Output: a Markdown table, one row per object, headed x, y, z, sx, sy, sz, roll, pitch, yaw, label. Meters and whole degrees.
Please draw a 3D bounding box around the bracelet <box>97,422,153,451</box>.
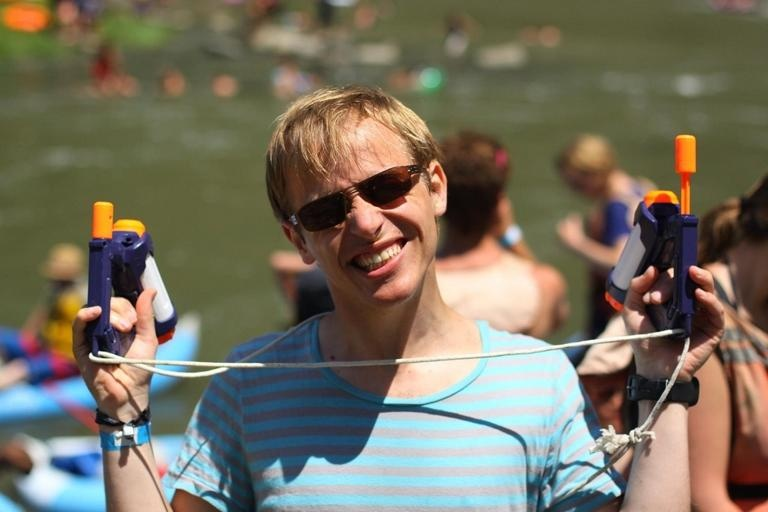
| x | y | z | sx | sy | sz | roll | pitch | yaw | label |
| --- | --- | --- | --- | --- | --- | --- | --- | --- | --- |
| -1.800 | 1.249 | 10.906 | 0.241 | 0.131 | 0.190 | -6 | -1 | 3 | bracelet |
